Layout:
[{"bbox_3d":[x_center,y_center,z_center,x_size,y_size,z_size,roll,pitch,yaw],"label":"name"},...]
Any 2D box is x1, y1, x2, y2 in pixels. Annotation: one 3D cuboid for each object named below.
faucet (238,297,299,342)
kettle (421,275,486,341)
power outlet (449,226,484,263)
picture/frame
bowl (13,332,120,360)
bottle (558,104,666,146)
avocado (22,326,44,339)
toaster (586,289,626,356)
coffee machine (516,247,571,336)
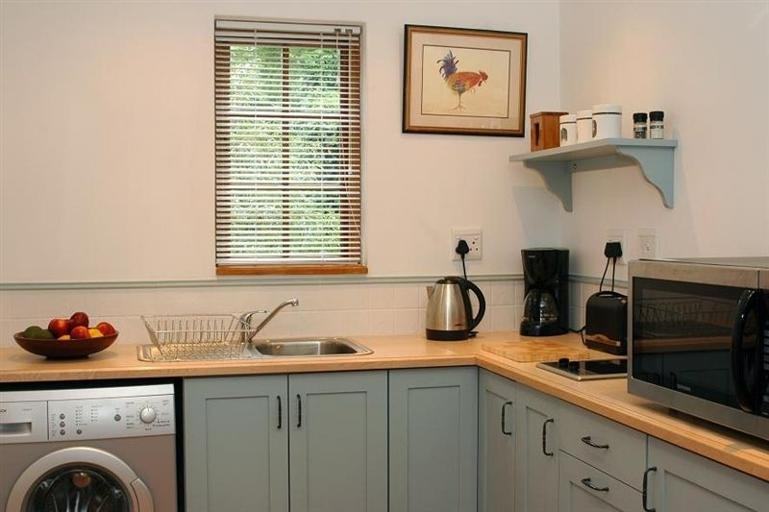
[{"bbox_3d":[-0.572,0.326,3.265,0.533,0.252,0.117,-12,-10,42],"label":"faucet"},{"bbox_3d":[0.338,0.257,3.467,0.299,0.326,0.303,2,7,-24],"label":"kettle"},{"bbox_3d":[0.445,-0.066,3.621,0.213,0.226,0.039,0,-1,-16],"label":"power outlet"},{"bbox_3d":[0.411,-0.966,3.583,0.682,0.509,0.026,1,1,-8],"label":"picture/frame"},{"bbox_3d":[-1.477,0.393,3.221,0.549,0.108,0.483,-1,4,-16],"label":"bowl"},{"bbox_3d":[1.028,-0.609,3.094,0.292,0.176,0.509,-5,4,-31],"label":"bottle"},{"bbox_3d":[-1.616,0.349,3.018,0.060,0.059,0.077,-1,2,-17],"label":"avocado"},{"bbox_3d":[1.039,0.317,3.059,0.128,0.270,0.179,-1,12,0],"label":"toaster"},{"bbox_3d":[0.841,0.190,3.570,0.255,0.469,0.247,2,7,-7],"label":"coffee machine"}]
